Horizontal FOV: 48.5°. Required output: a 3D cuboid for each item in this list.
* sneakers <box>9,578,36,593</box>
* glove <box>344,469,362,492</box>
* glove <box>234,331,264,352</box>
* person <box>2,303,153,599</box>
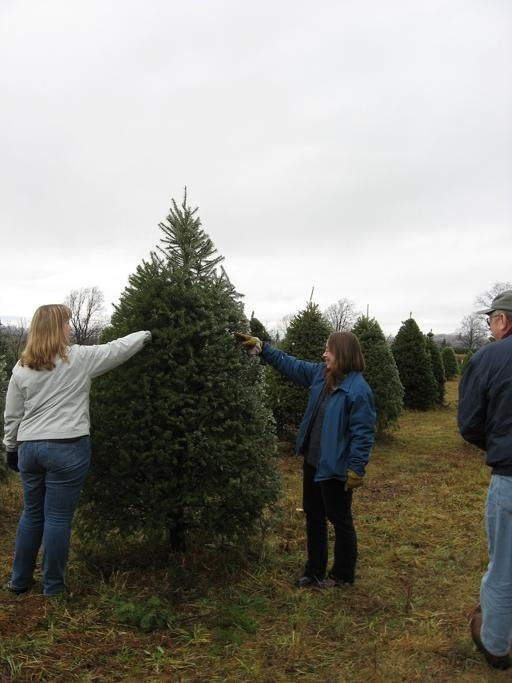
[{"bbox_3d":[-1.557,1.620,3.728,0.083,0.130,0.059,-4,-34,-1],"label":"sneakers"},{"bbox_3d":[0.716,0.979,4.046,0.121,0.122,0.141,4,-16,-13],"label":"glove"},{"bbox_3d":[-0.052,0.003,4.489,0.097,0.119,0.313,-25,-15,11],"label":"glove"},{"bbox_3d":[-1.289,0.706,3.752,0.778,1.882,0.440,7,4,-9],"label":"person"}]
